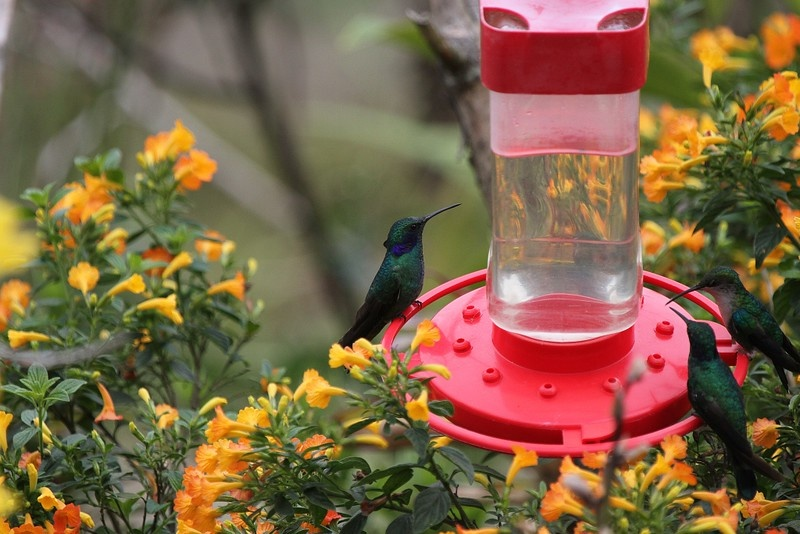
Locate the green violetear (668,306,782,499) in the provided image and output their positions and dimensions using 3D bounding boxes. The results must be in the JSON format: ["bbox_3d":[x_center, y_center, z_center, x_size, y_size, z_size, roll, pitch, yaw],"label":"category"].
[{"bbox_3d":[1.140,0.484,3.716,0.249,0.542,0.480,-10,22,10],"label":"green violetear"}]
